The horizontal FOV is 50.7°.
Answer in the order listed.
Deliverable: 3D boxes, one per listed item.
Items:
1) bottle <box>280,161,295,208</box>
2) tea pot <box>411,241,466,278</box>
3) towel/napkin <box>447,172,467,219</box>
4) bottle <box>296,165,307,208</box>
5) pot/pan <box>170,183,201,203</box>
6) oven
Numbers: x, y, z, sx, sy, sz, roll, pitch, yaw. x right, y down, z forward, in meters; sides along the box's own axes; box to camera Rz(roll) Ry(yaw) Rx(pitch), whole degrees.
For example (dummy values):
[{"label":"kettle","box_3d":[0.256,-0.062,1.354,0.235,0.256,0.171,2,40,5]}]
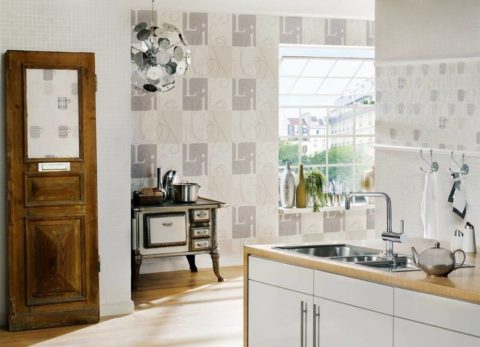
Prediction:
[{"label":"bottle","box_3d":[0.675,0.152,7.157,0.221,0.641,0.223,-1,1,0]},{"label":"tea pot","box_3d":[1.253,0.526,3.181,0.275,0.183,0.197,1,-2,22]},{"label":"towel/napkin","box_3d":[1.977,0.198,4.684,0.108,0.426,0.190,-1,1,-33]},{"label":"bottle","box_3d":[0.878,0.169,7.166,0.181,0.611,0.160,-1,1,-17]},{"label":"pot/pan","box_3d":[-0.662,0.222,6.082,0.286,0.187,0.229,1,-1,-33]},{"label":"oven","box_3d":[-0.904,0.807,6.183,1.183,0.966,0.880,-1,1,-26]}]
